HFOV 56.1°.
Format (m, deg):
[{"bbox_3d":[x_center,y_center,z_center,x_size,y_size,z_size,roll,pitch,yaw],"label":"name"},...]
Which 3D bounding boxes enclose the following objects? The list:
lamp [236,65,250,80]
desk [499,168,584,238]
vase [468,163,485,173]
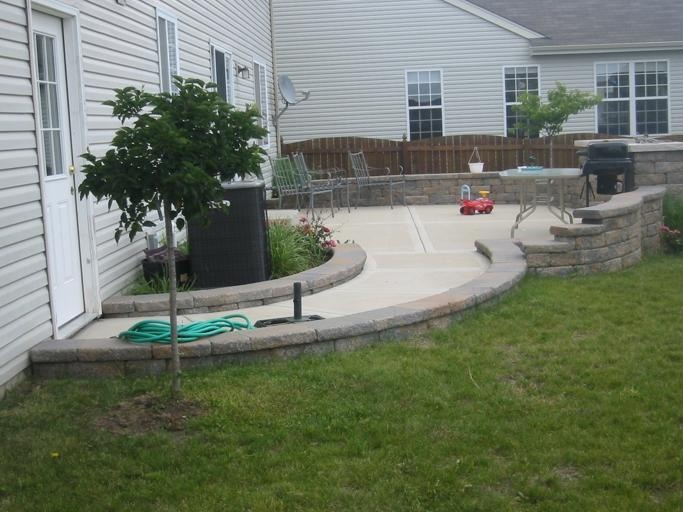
[{"bbox_3d":[-1.955,-3.577,12.503,0.304,0.303,0.262,1,11,12],"label":"lamp"},{"bbox_3d":[3.764,-0.993,11.829,1.198,0.570,0.680,-16,-14,11],"label":"desk"},{"bbox_3d":[3.092,-1.998,14.663,0.374,0.226,0.370,-1,0,2],"label":"vase"}]
